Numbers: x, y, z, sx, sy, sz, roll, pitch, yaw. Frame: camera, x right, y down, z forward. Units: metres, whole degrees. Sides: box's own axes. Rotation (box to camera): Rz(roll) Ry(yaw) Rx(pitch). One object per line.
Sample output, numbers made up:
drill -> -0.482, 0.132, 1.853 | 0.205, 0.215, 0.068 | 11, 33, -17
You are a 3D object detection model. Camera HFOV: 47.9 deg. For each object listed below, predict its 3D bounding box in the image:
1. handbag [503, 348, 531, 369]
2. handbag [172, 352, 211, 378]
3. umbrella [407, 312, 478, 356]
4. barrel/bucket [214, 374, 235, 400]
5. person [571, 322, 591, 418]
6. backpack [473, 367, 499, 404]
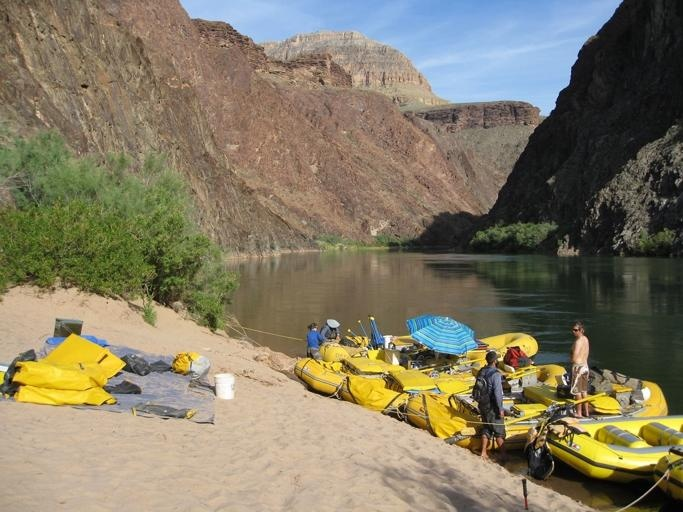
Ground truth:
handbag -> 5.029, 2.894, 21.819 | 0.705, 0.240, 0.554 | -3, 7, -43
handbag -> -4.027, 2.930, 20.700 | 0.890, 0.594, 0.329 | -1, 34, 21
umbrella -> 2.854, 2.290, 22.519 | 1.571, 0.552, 1.413 | -10, 37, -44
barrel/bucket -> -2.956, 3.398, 20.121 | 0.657, 0.586, 0.600 | 0, -5, 0
person -> 6.201, 2.918, 20.005 | 0.437, 2.326, 1.112 | 0, 1, 16
backpack -> 3.571, 3.186, 19.077 | 0.702, 0.894, 0.243 | 0, 1, 42
